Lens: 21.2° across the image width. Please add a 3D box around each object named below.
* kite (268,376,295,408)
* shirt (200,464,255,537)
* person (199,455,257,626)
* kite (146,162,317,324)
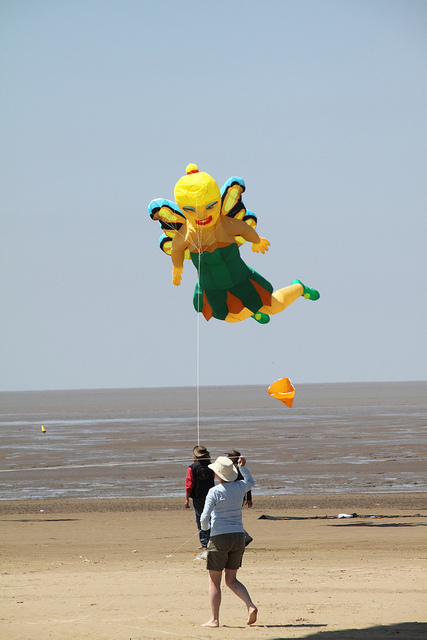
[{"bbox_3d":[0.873,0.910,14.632,0.324,0.350,0.445,-5,-9,3],"label":"kite"},{"bbox_3d":[0.124,1.728,10.452,0.472,0.486,0.180,-2,-9,-14],"label":"shirt"},{"bbox_3d":[0.151,2.033,10.566,0.518,1.557,0.651,-5,-9,3],"label":"person"},{"bbox_3d":[0.258,-0.815,13.721,1.746,2.375,0.941,-13,29,4],"label":"kite"}]
